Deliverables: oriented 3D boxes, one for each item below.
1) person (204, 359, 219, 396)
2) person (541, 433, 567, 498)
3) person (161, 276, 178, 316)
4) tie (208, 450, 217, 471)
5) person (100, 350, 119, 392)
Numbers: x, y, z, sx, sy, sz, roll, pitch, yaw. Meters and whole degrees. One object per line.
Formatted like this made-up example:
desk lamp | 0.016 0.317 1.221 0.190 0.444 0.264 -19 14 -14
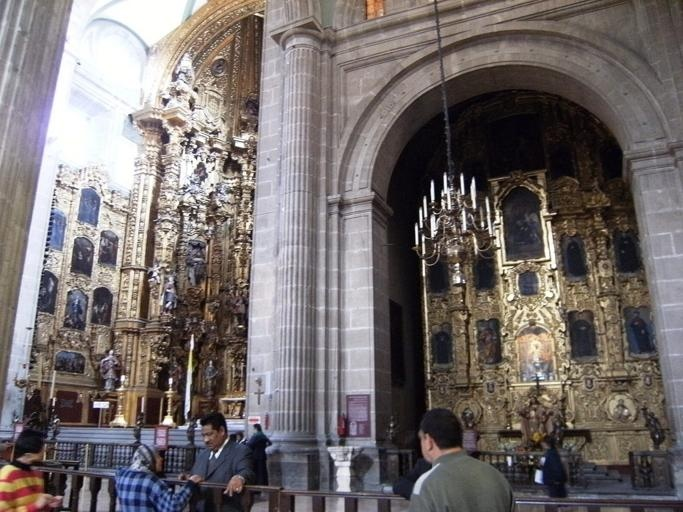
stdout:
person | -5.324 4.984 23.554 0.495 1.490 0.941 2 -17 -12
person | 3.397 3.393 9.268 0.342 0.926 0.493 -7 -18 15
person | -6.997 1.484 23.462 0.444 1.652 0.642 -5 -18 9
tie | -1.572 2.460 7.000 0.120 0.138 0.055 -3 -14 18
person | -9.050 4.450 22.368 0.704 1.629 0.545 -6 -18 13
